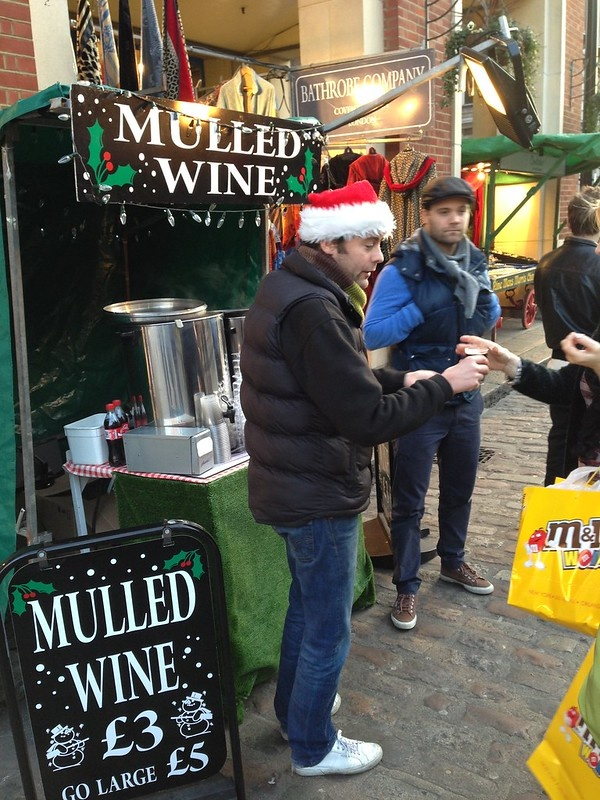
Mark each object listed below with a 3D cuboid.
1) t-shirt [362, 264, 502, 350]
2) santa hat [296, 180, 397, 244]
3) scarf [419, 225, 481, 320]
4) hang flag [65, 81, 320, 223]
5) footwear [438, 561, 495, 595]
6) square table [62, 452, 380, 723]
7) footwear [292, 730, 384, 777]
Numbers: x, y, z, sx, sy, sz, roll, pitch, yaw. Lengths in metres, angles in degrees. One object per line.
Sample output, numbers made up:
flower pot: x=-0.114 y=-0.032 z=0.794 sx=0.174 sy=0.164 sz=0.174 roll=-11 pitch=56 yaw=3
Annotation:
t-shirt: x=0.599 y=-0.417 z=2.861 sx=0.514 sy=0.384 sz=0.241 roll=-8 pitch=12 yaw=-28
santa hat: x=0.143 y=-0.541 z=1.867 sx=0.260 sy=0.152 sz=0.182 roll=-12 pitch=14 yaw=0
scarf: x=0.703 y=-0.597 z=2.928 sx=0.259 sy=0.432 sz=0.092 roll=-13 pitch=-7 yaw=-2
hang flag: x=-0.392 y=-1.021 z=2.626 sx=0.157 sy=0.499 sz=1.457 roll=2 pitch=11 yaw=32
footwear: x=0.902 y=0.946 z=3.405 sx=0.307 sy=0.115 sz=0.114 roll=7 pitch=20 yaw=40
square table: x=-0.263 y=0.489 z=2.776 sx=1.432 sy=0.958 sz=0.920 roll=5 pitch=12 yaw=32
footwear: x=0.155 y=1.196 z=2.163 sx=0.348 sy=0.142 sz=0.121 roll=-2 pitch=10 yaw=-5
